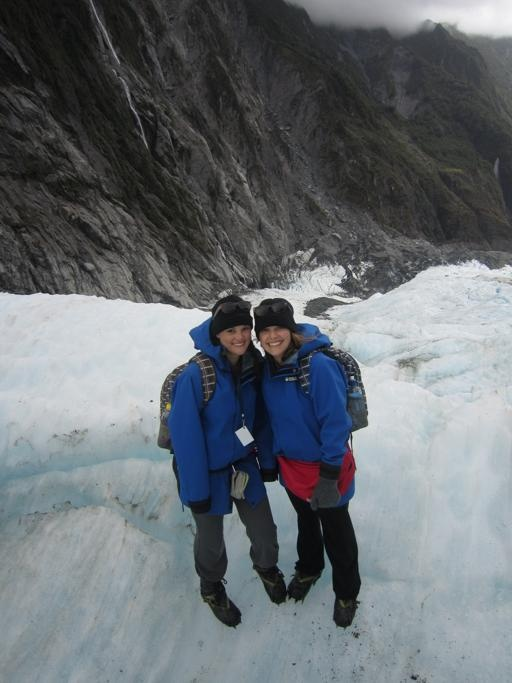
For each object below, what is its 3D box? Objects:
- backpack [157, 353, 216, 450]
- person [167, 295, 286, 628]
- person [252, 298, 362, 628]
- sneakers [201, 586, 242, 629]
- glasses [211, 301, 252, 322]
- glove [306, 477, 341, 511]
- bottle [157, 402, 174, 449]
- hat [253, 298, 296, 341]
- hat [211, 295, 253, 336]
[{"bbox_3d":[-0.395,0.348,2.586,0.382,0.552,0.352,-10,31,-8],"label":"backpack"},{"bbox_3d":[-0.173,0.715,2.644,0.632,1.888,0.499,-7,12,-19],"label":"person"},{"bbox_3d":[0.310,0.693,2.596,0.642,1.913,0.620,-4,10,-14],"label":"person"},{"bbox_3d":[-0.214,1.608,2.714,0.234,0.168,0.089,36,33,4],"label":"sneakers"},{"bbox_3d":[-0.125,-0.156,2.445,0.208,0.113,0.127,-9,31,-5],"label":"glasses"},{"bbox_3d":[0.360,0.779,2.352,0.131,0.187,0.068,13,37,-4],"label":"glove"},{"bbox_3d":[-0.510,0.492,2.558,0.051,0.221,0.215,9,-10,-28],"label":"bottle"},{"bbox_3d":[0.103,-0.139,2.486,0.229,0.198,0.225,-4,31,2],"label":"hat"},{"bbox_3d":[-0.132,-0.146,2.418,0.166,0.243,0.186,-2,59,-13],"label":"hat"}]
